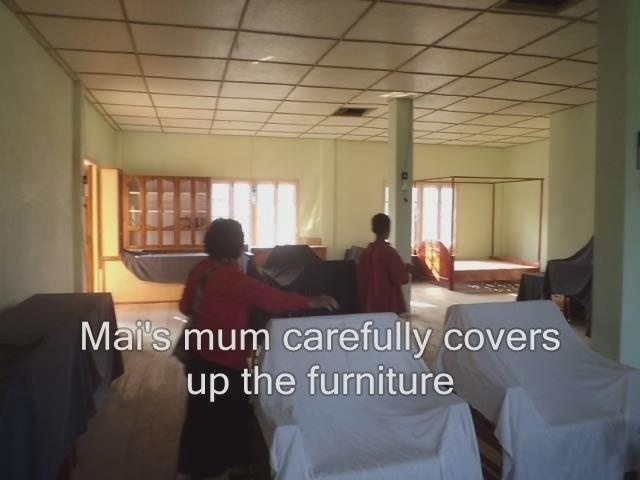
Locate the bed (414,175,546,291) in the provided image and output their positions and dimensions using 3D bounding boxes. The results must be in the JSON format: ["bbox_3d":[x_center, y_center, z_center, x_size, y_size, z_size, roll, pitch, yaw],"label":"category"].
[{"bbox_3d":[3.474,-0.349,10.979,2.387,2.593,2.501,-1,5,-14],"label":"bed"}]

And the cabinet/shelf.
[{"bbox_3d":[-2.874,-0.455,9.000,1.458,1.406,0.377,0,-1,-23],"label":"cabinet/shelf"}]

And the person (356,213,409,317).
[{"bbox_3d":[0.626,0.261,4.755,0.501,1.009,0.425,0,7,5],"label":"person"}]
